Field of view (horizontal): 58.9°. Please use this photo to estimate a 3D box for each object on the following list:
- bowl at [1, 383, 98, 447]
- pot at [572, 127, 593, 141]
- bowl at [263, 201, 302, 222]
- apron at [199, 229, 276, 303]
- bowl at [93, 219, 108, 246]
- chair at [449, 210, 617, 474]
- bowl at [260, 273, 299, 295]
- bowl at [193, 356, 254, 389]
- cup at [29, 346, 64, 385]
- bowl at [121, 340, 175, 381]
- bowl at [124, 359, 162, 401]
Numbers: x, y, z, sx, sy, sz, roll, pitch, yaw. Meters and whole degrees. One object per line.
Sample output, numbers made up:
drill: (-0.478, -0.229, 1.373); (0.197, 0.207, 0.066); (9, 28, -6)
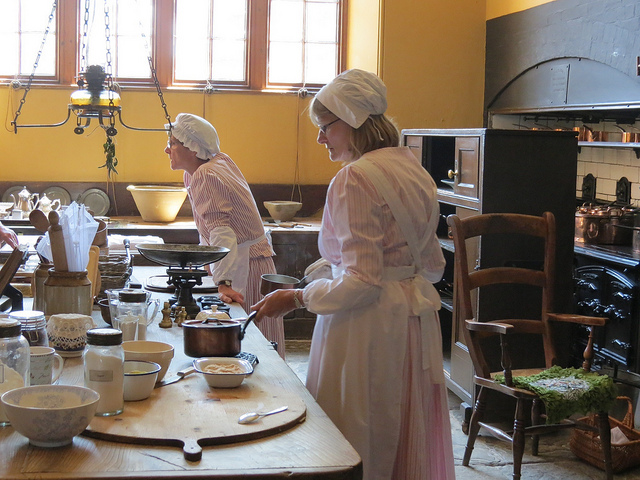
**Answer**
bowl: (-0.617, 0.404, 1.290); (0.205, 0.123, 0.111); (2, 7, 12)
pot: (2.175, -0.857, 4.635); (0.080, 0.096, 0.135); (3, 7, 24)
bowl: (-0.394, -0.304, 5.988); (0.386, 0.199, 0.210); (-1, 7, -10)
apron: (-0.391, 0.120, 2.875); (0.307, 0.429, 0.309); (0, 10, -1)
bowl: (-1.082, -0.040, 2.823); (0.097, 0.094, 0.096); (4, 24, -2)
chair: (1.270, 0.568, 3.367); (1.014, 1.476, 1.203); (2, 7, 12)
bowl: (-0.154, 0.177, 2.305); (0.131, 0.049, 0.080); (0, 2, -26)
bowl: (-0.296, 0.395, 1.700); (0.172, 0.046, 0.150); (3, 7, -11)
cup: (-0.750, 0.351, 1.546); (0.068, 0.102, 0.106); (3, 2, 35)
bowl: (-0.506, 0.362, 1.674); (0.145, 0.089, 0.144); (-3, 7, 0)
bowl: (-0.485, 0.368, 1.547); (0.093, 0.058, 0.095); (3, 7, 0)
